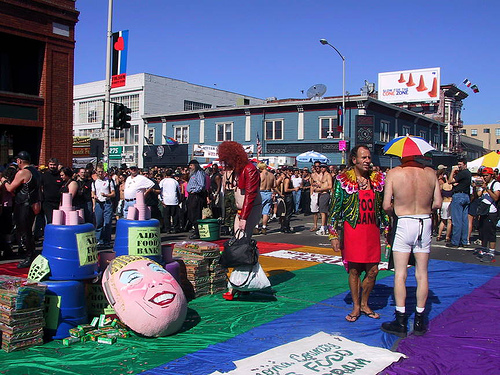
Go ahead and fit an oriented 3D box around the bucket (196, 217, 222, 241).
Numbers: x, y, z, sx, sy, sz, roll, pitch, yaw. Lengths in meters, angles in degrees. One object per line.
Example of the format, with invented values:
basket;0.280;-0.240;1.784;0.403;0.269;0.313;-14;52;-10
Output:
bucket;-1.119;1.176;12.819;0.863;0.622;0.713;-3;-1;-33

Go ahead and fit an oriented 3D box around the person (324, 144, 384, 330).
person;1.575;0.680;6.619;0.817;2.600;0.613;1;2;16

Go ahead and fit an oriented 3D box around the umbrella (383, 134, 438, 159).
umbrella;2.358;-0.616;6.626;0.621;0.374;0.703;1;3;17

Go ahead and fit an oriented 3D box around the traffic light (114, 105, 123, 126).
traffic light;-4.950;-2.711;16.623;0.297;0.756;0.183;0;2;-16

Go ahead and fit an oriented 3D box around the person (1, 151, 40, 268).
person;-5.015;0.466;9.758;0.703;2.484;0.826;-1;3;-29

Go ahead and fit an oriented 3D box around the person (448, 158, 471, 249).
person;6.092;0.422;12.818;0.496;2.545;0.946;1;3;25

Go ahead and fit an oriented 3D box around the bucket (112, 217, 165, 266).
bucket;-1.735;0.793;6.915;0.646;0.649;0.671;0;0;0

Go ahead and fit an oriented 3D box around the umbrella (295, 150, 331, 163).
umbrella;4.680;-2.270;32.287;1.826;0.800;1.880;-1;-2;39

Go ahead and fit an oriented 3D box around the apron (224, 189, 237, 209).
apron;-0.627;0.354;13.765;0.323;0.648;1.023;0;3;-9

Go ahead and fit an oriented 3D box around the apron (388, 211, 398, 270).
apron;2.066;0.784;6.392;0.108;0.850;0.370;1;2;16

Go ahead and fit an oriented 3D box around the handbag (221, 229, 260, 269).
handbag;-0.193;0.978;7.303;0.686;0.648;0.327;-4;-14;37

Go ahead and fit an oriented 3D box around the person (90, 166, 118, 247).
person;-4.159;0.501;12.495;0.664;2.211;0.858;-1;3;-21

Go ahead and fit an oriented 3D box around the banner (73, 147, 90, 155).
banner;-9.306;-1.989;24.321;0.708;0.418;3.154;-1;3;-24

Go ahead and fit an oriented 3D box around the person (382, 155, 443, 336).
person;2.262;0.793;6.211;0.744;2.491;0.450;1;2;18

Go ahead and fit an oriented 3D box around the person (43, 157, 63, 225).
person;-5.008;0.085;11.287;0.413;1.642;0.529;-2;3;-39

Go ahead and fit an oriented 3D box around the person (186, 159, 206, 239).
person;-1.766;0.343;14.524;0.611;2.486;1.154;0;2;-9
